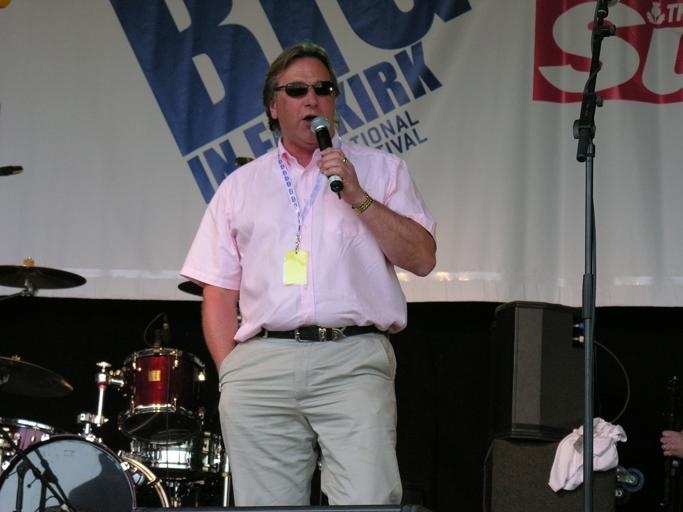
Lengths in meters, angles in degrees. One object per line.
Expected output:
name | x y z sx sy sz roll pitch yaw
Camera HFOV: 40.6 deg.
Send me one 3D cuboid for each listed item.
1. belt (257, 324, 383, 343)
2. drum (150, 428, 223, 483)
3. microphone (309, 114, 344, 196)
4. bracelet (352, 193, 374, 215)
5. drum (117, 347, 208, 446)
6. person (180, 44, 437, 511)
belt | -0.087 0.320 3.755 0.447 0.066 0.066 -3 -7 0
drum | -0.961 1.218 5.746 0.516 0.286 0.565 -1 -5 0
microphone | -0.066 -0.420 3.777 0.085 0.404 0.086 -4 -44 -9
bracelet | 0.086 -0.207 3.721 0.083 0.042 0.068 -49 -9 -1
drum | -1.065 0.855 5.540 0.450 0.390 0.471 -17 -32 24
person | -0.202 0.045 3.880 0.899 1.958 0.298 -3 -6 12
